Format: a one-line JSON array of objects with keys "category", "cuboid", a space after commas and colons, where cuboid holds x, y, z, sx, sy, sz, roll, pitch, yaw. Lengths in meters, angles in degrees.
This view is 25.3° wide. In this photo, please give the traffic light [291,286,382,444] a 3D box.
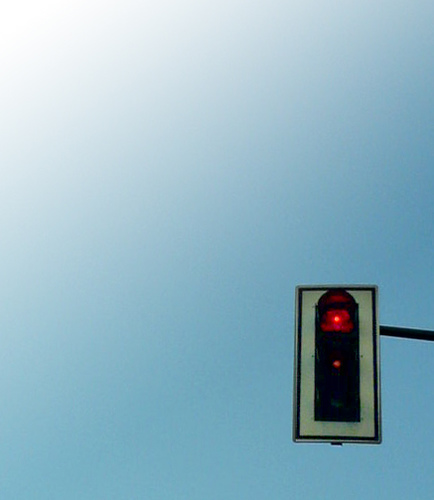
[{"category": "traffic light", "cuboid": [0.878, 0.857, 7.075, 0.584, 1.492, 0.458, 0, -48, 7]}]
